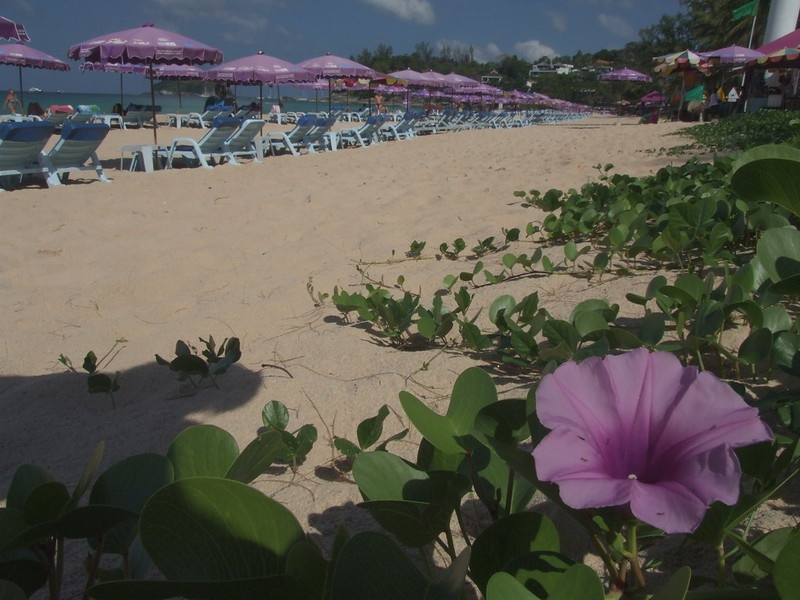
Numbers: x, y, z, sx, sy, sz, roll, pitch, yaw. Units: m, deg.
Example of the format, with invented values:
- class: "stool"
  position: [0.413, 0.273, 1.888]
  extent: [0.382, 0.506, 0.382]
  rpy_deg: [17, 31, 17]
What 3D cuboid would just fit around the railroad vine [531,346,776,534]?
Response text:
- class: "railroad vine"
  position: [0.325, 0.179, 0.796]
  extent: [0.302, 0.169, 0.220]
  rpy_deg: [-3, 14, 7]
